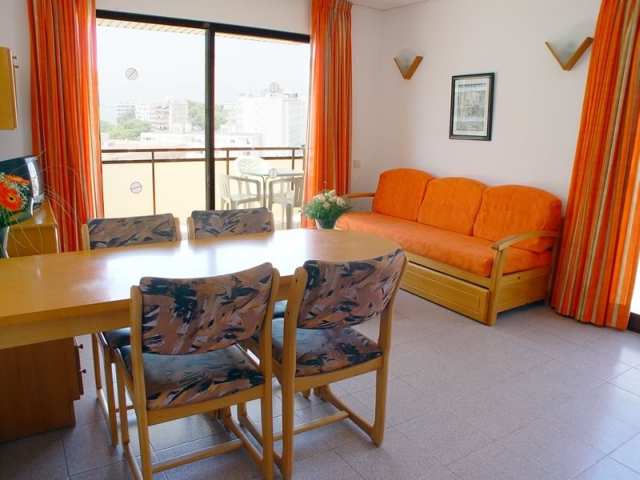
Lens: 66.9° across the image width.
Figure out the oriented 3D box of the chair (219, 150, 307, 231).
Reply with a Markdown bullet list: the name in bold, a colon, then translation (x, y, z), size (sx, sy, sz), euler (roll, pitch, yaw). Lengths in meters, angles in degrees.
- **chair**: translation (-0.900, -0.668, 5.937), size (0.916, 1.290, 0.863), euler (-1, 11, -35)

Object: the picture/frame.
- **picture/frame**: translation (1.585, -1.383, 5.006), size (0.048, 0.906, 0.749), euler (-10, 15, -37)

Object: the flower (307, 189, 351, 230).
- **flower**: translation (0.073, -0.320, 5.076), size (0.417, 0.420, 0.416), euler (0, -1, -14)
